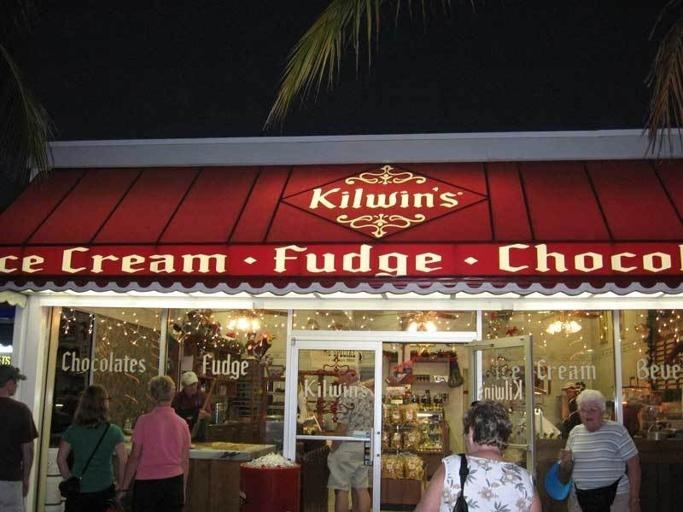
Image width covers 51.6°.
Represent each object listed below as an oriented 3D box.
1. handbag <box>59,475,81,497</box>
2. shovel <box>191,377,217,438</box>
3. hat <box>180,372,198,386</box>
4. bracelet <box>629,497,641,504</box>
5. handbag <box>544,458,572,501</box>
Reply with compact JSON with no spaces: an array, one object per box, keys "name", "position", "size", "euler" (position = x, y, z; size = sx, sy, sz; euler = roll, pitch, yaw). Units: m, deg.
[{"name":"handbag","position":[-3.086,2.637,8.068],"size":[0.249,0.251,0.184],"euler":[3,-13,1]},{"name":"shovel","position":[-1.953,2.203,10.100],"size":[0.214,0.861,0.329],"euler":[10,-20,-32]},{"name":"hat","position":[-2.180,1.764,10.144],"size":[0.220,0.117,0.167],"euler":[11,15,43]},{"name":"bracelet","position":[3.492,2.903,8.371],"size":[0.060,0.064,0.521],"euler":[-9,-19,24]},{"name":"handbag","position":[2.517,2.596,8.186],"size":[0.248,0.424,0.457],"euler":[-8,-18,21]}]
